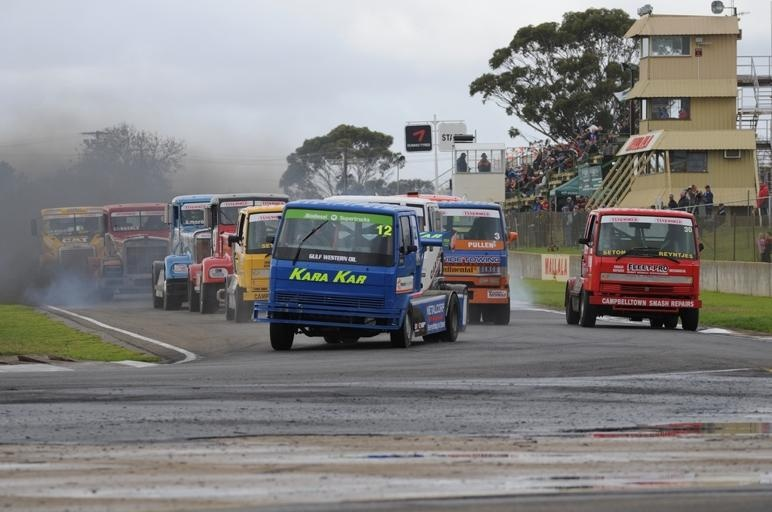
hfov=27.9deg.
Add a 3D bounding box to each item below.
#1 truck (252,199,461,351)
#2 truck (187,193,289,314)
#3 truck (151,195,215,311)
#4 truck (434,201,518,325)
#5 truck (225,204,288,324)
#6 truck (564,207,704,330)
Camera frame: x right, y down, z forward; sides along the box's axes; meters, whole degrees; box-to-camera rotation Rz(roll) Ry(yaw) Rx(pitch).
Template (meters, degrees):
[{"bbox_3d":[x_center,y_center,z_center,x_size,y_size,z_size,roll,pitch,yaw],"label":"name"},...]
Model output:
[{"bbox_3d":[-0.497,0.437,35.550,4.715,3.414,2.019,0,0,-33],"label":"truck"},{"bbox_3d":[-4.398,-0.136,47.577,3.071,3.455,5.963,-1,1,-14],"label":"truck"},{"bbox_3d":[-6.117,-0.503,49.680,2.122,2.882,5.309,-3,10,-13],"label":"truck"},{"bbox_3d":[2.710,0.016,44.363,2.802,3.172,5.450,1,3,16],"label":"truck"},{"bbox_3d":[-3.305,0.119,44.201,2.716,3.111,5.339,-3,3,-14],"label":"truck"},{"bbox_3d":[6.516,0.338,40.783,3.169,3.181,1.473,0,0,5],"label":"truck"}]
